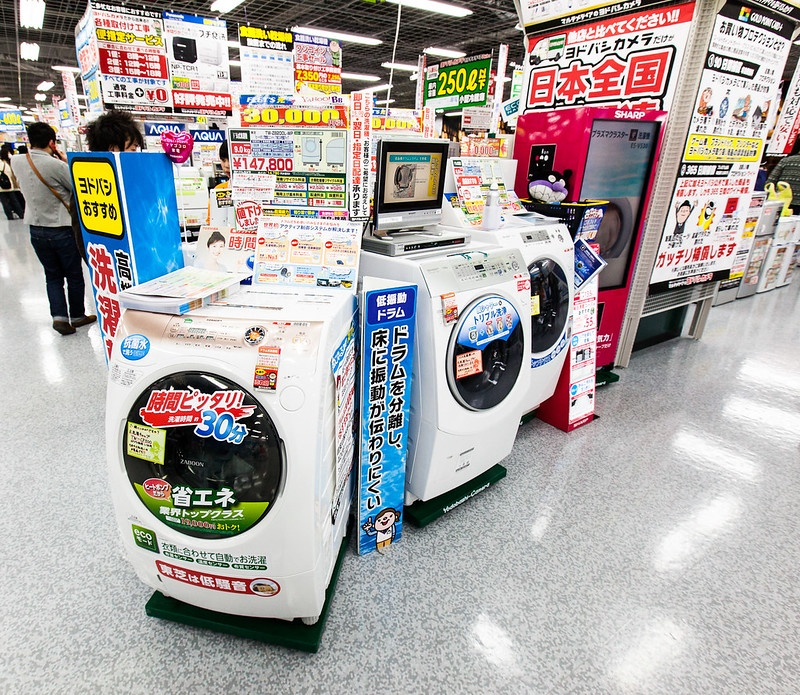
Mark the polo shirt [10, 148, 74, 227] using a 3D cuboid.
[{"bbox_3d":[-2.851,-1.273,4.400,0.369,0.573,0.409,-12,27,-30],"label":"polo shirt"}]

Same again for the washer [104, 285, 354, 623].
[{"bbox_3d":[-0.672,0.435,2.252,0.835,1.206,0.646,6,24,8],"label":"washer"}]

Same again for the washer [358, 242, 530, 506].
[{"bbox_3d":[0.294,0.109,2.833,0.745,1.258,0.505,-13,27,-31],"label":"washer"}]
